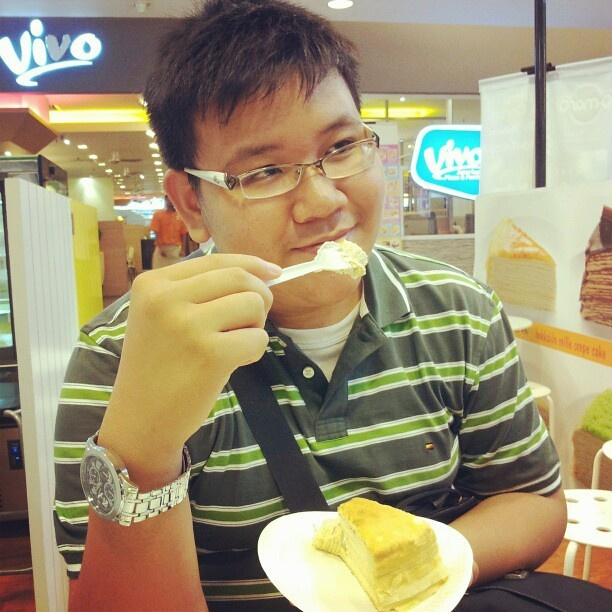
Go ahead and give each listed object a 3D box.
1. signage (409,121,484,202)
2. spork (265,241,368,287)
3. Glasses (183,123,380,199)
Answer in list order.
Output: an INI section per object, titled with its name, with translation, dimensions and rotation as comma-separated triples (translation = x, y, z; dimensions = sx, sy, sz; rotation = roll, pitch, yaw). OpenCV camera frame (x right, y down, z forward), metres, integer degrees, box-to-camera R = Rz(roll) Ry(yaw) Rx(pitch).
[signage]
translation = 1.717, -1.722, 6.780
dimensions = 1.041, 0.786, 0.104
rotation = -5, 20, -20
[spork]
translation = 0.022, -0.081, 1.202
dimensions = 0.200, 0.089, 0.050
rotation = -17, -21, -26
[Glasses]
translation = -0.057, -0.321, 1.308
dimensions = 0.452, 0.186, 0.239
rotation = -1, 4, 3
